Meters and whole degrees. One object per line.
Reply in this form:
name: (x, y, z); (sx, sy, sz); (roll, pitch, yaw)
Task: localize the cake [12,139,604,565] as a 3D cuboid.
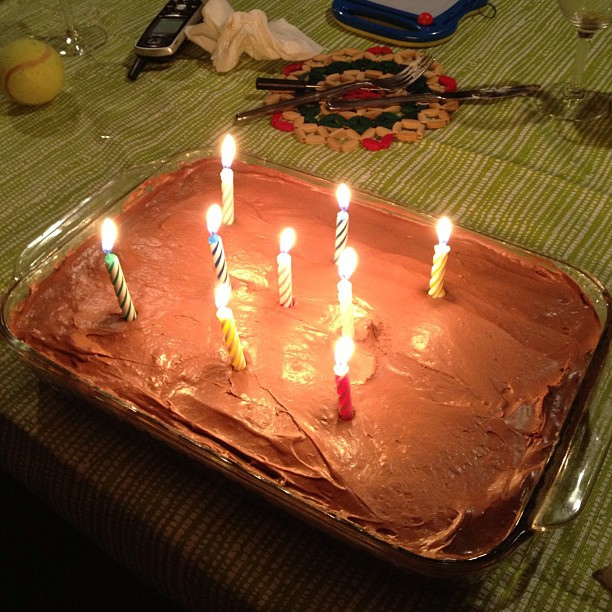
cake: (-0.007, -0.013, 1.346); (1.220, 0.243, 0.815); (27, 48, 22)
